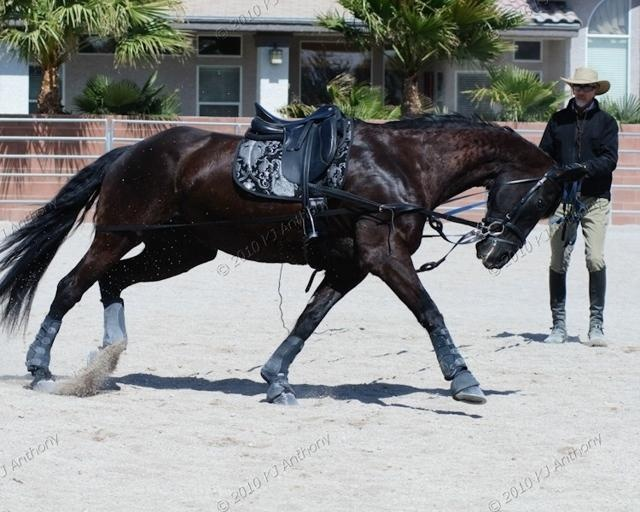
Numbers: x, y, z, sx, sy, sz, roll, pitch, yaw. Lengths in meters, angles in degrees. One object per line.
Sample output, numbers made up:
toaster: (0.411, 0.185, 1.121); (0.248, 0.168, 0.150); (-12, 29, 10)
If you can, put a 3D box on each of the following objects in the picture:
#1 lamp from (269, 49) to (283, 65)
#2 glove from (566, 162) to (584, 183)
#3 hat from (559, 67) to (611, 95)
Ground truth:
lamp: (-0.751, -3.493, 21.257); (0.225, 0.265, 0.203); (1, 6, -4)
glove: (2.034, -0.658, 9.612); (0.138, 0.140, 0.212); (4, 6, 22)
hat: (2.441, -1.598, 11.026); (0.371, 0.271, 0.755); (3, 6, 11)
